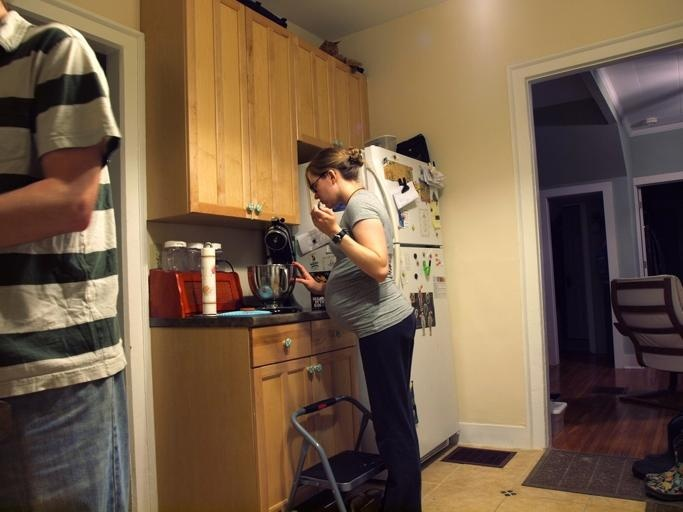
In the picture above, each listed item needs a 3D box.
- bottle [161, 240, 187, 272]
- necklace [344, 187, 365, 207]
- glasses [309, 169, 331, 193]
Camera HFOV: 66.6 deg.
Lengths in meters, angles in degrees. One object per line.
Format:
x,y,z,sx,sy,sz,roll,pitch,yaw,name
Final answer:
-0.890,0.004,2.755,0.137,0.176,0.150,2,-1,0,bottle
0.055,-0.258,2.353,0.021,0.085,0.084,20,25,14,necklace
-0.104,-0.353,2.459,0.024,0.092,0.087,17,4,24,glasses
